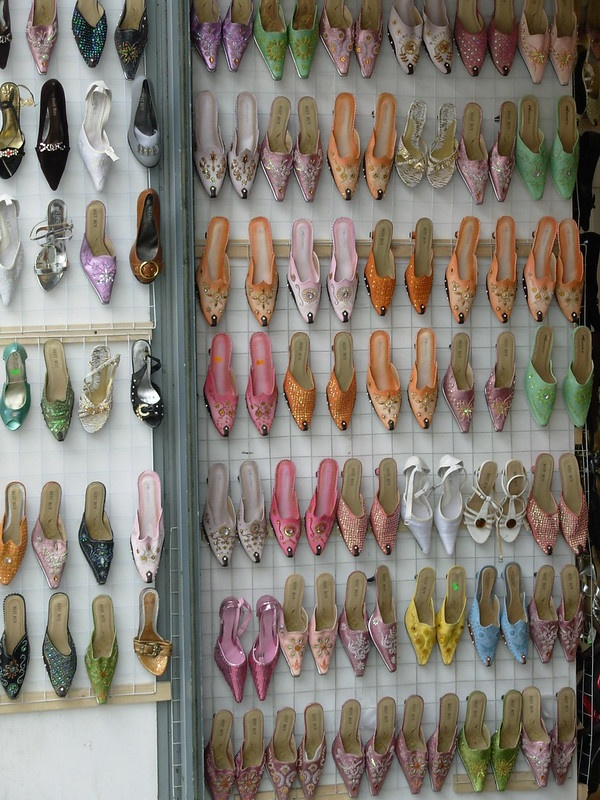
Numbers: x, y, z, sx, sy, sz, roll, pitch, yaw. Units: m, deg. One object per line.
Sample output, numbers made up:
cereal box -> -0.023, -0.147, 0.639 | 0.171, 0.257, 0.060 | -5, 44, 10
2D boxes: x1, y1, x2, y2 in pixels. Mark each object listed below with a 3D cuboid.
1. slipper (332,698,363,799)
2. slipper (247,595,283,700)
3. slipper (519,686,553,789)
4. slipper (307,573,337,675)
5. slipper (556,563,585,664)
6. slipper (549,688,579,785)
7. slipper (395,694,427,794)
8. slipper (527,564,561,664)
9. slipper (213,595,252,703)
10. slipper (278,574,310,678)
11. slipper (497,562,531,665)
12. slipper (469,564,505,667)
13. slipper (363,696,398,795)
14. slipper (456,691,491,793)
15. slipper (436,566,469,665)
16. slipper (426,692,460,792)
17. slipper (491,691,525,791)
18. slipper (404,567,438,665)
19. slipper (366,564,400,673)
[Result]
slipper -> 0.171, 1.231, 3.041 | 0.105, 0.322, 0.076 | -3, -10, 7
slipper -> -0.124, 0.860, 3.015 | 0.120, 0.350, 0.082 | -1, -9, -7
slipper -> 0.866, 1.208, 3.133 | 0.061, 0.359, 0.086 | -2, -34, 7
slipper -> 0.082, 0.788, 3.057 | 0.105, 0.344, 0.073 | -3, -9, 3
slipper -> 1.018, 0.781, 3.190 | 0.073, 0.363, 0.068 | -19, -43, 35
slipper -> 0.977, 1.216, 3.147 | 0.067, 0.442, 0.076 | 0, 4, 3
slipper -> 0.403, 1.233, 3.090 | 0.116, 0.330, 0.100 | -3, -10, 6
slipper -> 0.906, 0.769, 3.166 | 0.063, 0.362, 0.066 | -4, -31, 21
slipper -> -0.235, 0.862, 3.001 | 0.137, 0.350, 0.082 | 0, -10, -12
slipper -> -0.023, 0.793, 3.054 | 0.077, 0.411, 0.078 | 8, -43, -8
slipper -> 0.790, 0.777, 3.140 | 0.070, 0.479, 0.064 | -2, -5, -2
slipper -> 0.682, 0.780, 3.129 | 0.083, 0.447, 0.067 | 2, -1, -13
slipper -> 0.291, 1.221, 3.061 | 0.068, 0.443, 0.080 | 1, 1, -2
slipper -> 0.638, 1.216, 3.104 | 0.077, 0.459, 0.083 | 0, -2, -3
slipper -> 0.558, 0.757, 3.118 | 0.071, 0.482, 0.076 | 2, 2, -1
slipper -> 0.523, 1.218, 3.094 | 0.069, 0.459, 0.074 | 1, 4, -3
slipper -> 0.764, 1.216, 3.123 | 0.072, 0.476, 0.084 | 2, 6, 1
slipper -> 0.449, 0.768, 3.110 | 0.075, 0.446, 0.070 | 4, -5, -10
slipper -> 0.300, 0.785, 3.090 | 0.101, 0.378, 0.141 | -4, -10, 9
